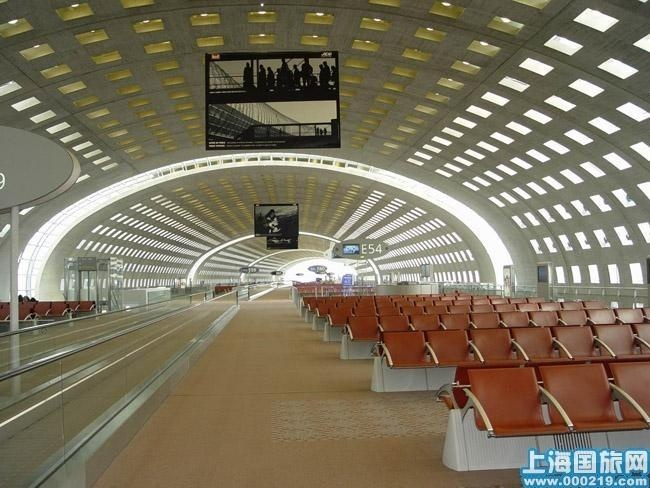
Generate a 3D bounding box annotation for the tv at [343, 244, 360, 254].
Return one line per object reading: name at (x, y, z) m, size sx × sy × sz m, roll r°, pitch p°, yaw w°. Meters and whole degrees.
tv at (3.439, 0.648, 50.527) m, size 2.030 × 0.895 × 0.169 m, roll 0°, pitch -11°, yaw -1°
